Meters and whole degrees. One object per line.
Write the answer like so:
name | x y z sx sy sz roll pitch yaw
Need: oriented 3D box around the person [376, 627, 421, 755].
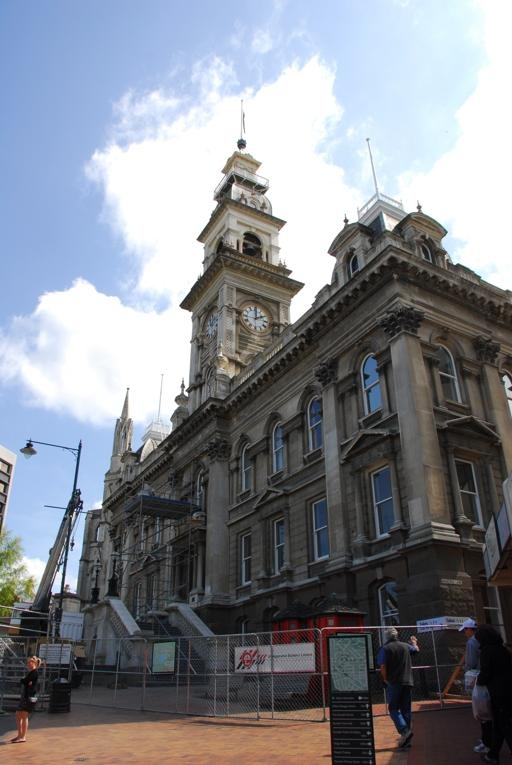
person | 2.187 4.487 8.554 0.537 1.495 2.052 -7 -28 13
